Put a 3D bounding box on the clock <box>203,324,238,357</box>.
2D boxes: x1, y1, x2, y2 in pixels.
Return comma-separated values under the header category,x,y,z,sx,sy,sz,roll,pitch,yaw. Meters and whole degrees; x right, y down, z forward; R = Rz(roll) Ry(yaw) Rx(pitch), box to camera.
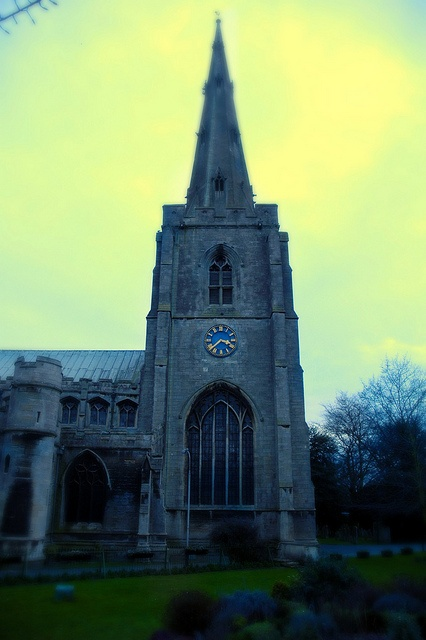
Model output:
category,x,y,z,sx,sy,sz,roll,pitch,yaw
clock,0.533,1.417,36.267,2.205,2.181,0.236,1,-30,0
